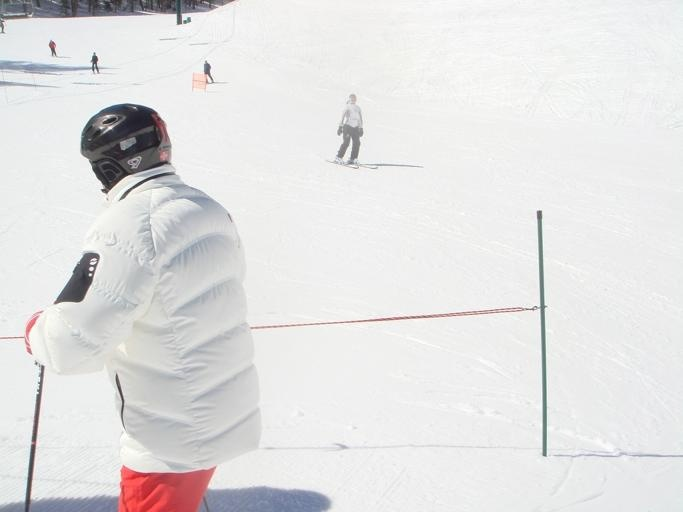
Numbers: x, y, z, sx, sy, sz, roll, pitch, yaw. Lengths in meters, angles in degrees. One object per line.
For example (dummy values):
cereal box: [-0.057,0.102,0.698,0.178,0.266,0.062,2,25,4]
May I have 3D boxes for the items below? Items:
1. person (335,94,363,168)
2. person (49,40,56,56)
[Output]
person: [0.181,-2.731,18.690,0.532,1.577,1.039,3,17,0]
person: [-8.258,-5.943,24.448,0.196,0.421,0.706,-3,19,-19]
